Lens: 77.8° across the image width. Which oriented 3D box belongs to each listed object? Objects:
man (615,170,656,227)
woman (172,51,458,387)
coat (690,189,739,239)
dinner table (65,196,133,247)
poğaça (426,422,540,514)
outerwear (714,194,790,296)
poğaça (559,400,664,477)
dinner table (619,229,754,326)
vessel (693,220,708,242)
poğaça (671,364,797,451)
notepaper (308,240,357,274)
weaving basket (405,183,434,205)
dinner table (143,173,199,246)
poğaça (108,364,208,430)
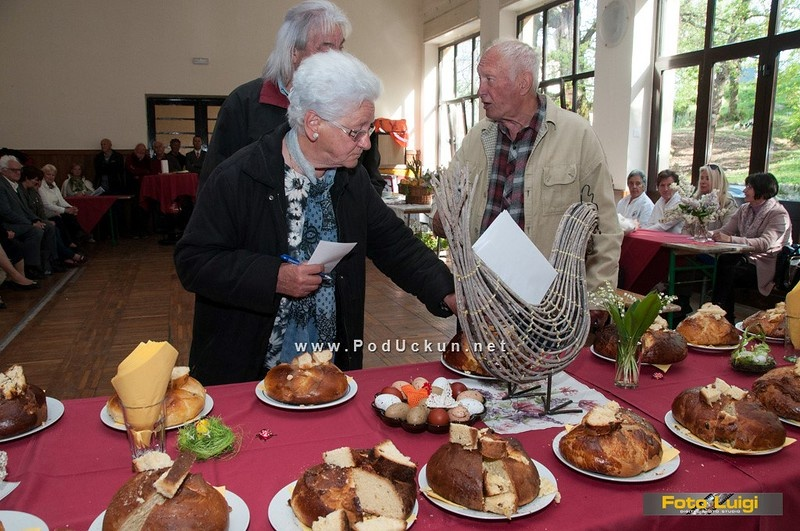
[{"bbox_3d":[2.879,-0.764,6.184,0.462,0.832,0.563,5,12,21],"label":"man"},{"bbox_3d":[-0.309,-0.129,1.751,0.898,1.158,0.547,-6,13,-27],"label":"woman"},{"bbox_3d":[3.027,-0.481,4.796,0.371,0.492,0.437,6,7,22],"label":"coat"},{"bbox_3d":[-5.389,-0.783,8.793,1.060,0.828,0.616,-2,11,-19],"label":"dinner table"},{"bbox_3d":[0.190,0.473,1.190,0.188,0.124,0.205,0,9,-1],"label":"poğaça"},{"bbox_3d":[3.327,-0.166,4.702,0.555,0.879,0.595,10,15,39],"label":"outerwear"},{"bbox_3d":[0.544,0.438,1.262,0.251,0.136,0.132,-1,12,-7],"label":"poğaça"},{"bbox_3d":[2.587,-0.013,4.613,0.725,0.819,1.522,-1,7,-7],"label":"dinner table"},{"bbox_3d":[2.759,-0.308,4.549,0.115,0.171,0.161,7,14,31],"label":"vessel"},{"bbox_3d":[0.882,0.377,1.325,0.161,0.093,0.235,-5,5,1],"label":"poğaça"},{"bbox_3d":[-0.237,-0.029,1.687,0.140,0.168,0.017,5,45,-39],"label":"notepaper"},{"bbox_3d":[0.264,-0.943,6.979,0.296,0.250,0.321,1,0,-8],"label":"weaving basket"},{"bbox_3d":[-4.290,-1.086,9.453,1.069,1.319,1.108,-1,6,-13],"label":"dinner table"},{"bbox_3d":[-0.620,0.331,1.362,0.179,0.074,0.209,1,4,2],"label":"poğaça"}]
